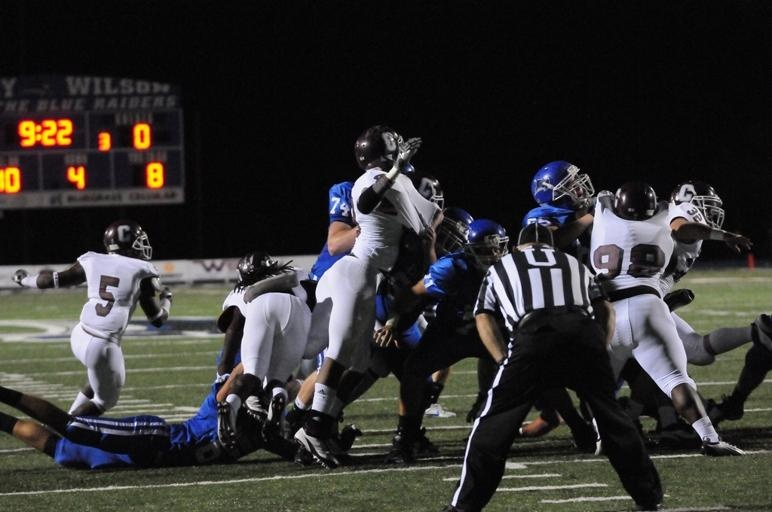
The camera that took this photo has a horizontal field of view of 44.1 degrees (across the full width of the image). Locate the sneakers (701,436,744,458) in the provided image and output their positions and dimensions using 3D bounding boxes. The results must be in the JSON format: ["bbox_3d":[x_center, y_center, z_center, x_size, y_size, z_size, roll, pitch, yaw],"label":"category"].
[{"bbox_3d":[2.828,1.586,7.911,0.394,0.167,0.143,0,2,-6],"label":"sneakers"}]

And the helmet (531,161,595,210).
[{"bbox_3d":[1.711,-0.672,9.193,0.658,0.511,0.477,-8,1,31],"label":"helmet"}]

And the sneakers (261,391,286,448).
[{"bbox_3d":[-0.904,1.361,7.893,0.159,0.428,0.196,9,-10,0],"label":"sneakers"}]

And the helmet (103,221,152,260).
[{"bbox_3d":[-2.476,-0.162,8.996,0.377,0.363,0.442,-3,3,34],"label":"helmet"}]

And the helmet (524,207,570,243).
[{"bbox_3d":[1.486,-0.332,8.928,0.402,0.297,0.291,13,25,10],"label":"helmet"}]

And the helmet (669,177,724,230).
[{"bbox_3d":[3.138,-0.572,9.411,0.554,0.523,0.488,16,-6,20],"label":"helmet"}]

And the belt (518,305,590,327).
[{"bbox_3d":[1.204,0.414,6.876,0.244,0.085,0.283,15,-30,-38],"label":"belt"}]

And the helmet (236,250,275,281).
[{"bbox_3d":[-1.211,0.094,8.619,0.292,0.273,0.260,-42,9,-2],"label":"helmet"}]

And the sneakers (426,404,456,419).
[{"bbox_3d":[0.527,1.532,9.388,0.356,0.152,0.119,1,4,-2],"label":"sneakers"}]

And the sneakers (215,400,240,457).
[{"bbox_3d":[-1.296,1.395,7.728,0.154,0.417,0.189,-1,5,-5],"label":"sneakers"}]

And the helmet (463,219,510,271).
[{"bbox_3d":[0.854,-0.105,8.102,0.391,0.400,0.472,-11,14,-12],"label":"helmet"}]

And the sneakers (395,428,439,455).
[{"bbox_3d":[0.278,1.585,8.051,0.507,0.237,0.165,0,0,-39],"label":"sneakers"}]

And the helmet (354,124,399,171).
[{"bbox_3d":[-0.094,-0.907,8.205,0.399,0.371,0.311,-29,11,-13],"label":"helmet"}]
